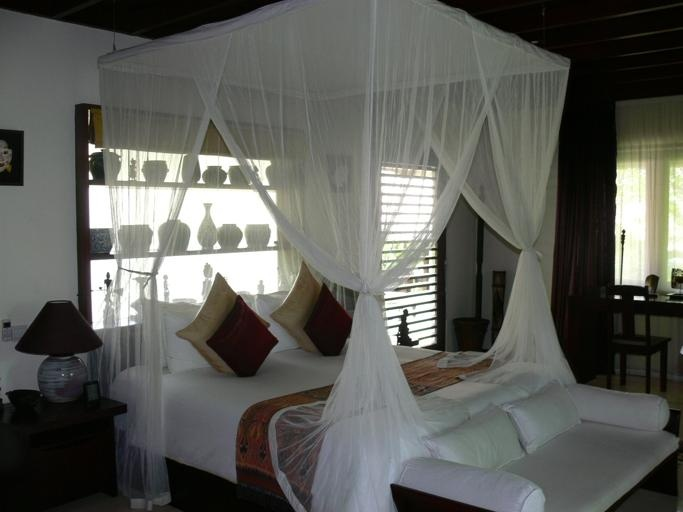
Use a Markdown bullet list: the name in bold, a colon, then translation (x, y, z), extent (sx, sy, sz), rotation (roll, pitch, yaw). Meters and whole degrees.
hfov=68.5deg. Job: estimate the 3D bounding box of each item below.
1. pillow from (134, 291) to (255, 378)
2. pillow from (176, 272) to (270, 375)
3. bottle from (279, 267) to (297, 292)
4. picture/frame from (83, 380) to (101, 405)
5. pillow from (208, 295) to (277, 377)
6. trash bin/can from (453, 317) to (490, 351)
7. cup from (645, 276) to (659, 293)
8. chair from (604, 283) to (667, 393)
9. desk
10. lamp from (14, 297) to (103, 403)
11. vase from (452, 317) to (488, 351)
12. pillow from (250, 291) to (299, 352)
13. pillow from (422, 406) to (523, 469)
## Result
- **pillow**: translation (-0.926, 0.518, 3.723), extent (0.714, 0.217, 0.657), rotation (-29, 2, 9)
- **pillow**: translation (-0.812, 0.506, 3.474), extent (0.164, 0.592, 0.556), rotation (-17, 33, 45)
- **bottle**: translation (-0.446, 0.189, 4.144), extent (0.157, 0.202, 0.019), rotation (2, 7, 1)
- **picture/frame**: translation (-1.614, 0.892, 3.238), extent (0.015, 0.171, 0.111), rotation (-7, -11, 32)
- **pillow**: translation (-0.648, 0.532, 3.327), extent (0.453, 0.435, 0.117), rotation (-49, 11, -28)
- **trash bin/can**: translation (1.687, 0.983, 6.496), extent (0.390, 0.380, 0.418), rotation (-1, 1, -25)
- **cup**: translation (3.477, 0.320, 5.628), extent (0.074, 0.181, 0.037), rotation (6, -3, 29)
- **chair**: translation (3.092, 0.854, 5.266), extent (0.579, 1.110, 1.035), rotation (4, 4, 35)
- **desk**: translation (3.103, 0.832, 5.427), extent (0.838, 1.009, 0.502), rotation (4, 8, 44)
- **lamp**: translation (-1.780, 0.575, 3.408), extent (0.525, 0.760, 0.585), rotation (1, 3, 11)
- **vase**: translation (1.689, 0.967, 6.522), extent (0.402, 0.410, 0.401), rotation (-1, 3, -43)
- **pillow**: translation (-0.533, 0.540, 4.025), extent (0.106, 0.430, 0.395), rotation (-15, -34, 7)
- **pillow**: translation (0.733, 0.997, 2.651), extent (0.720, 0.257, 0.184), rotation (0, 4, -42)
